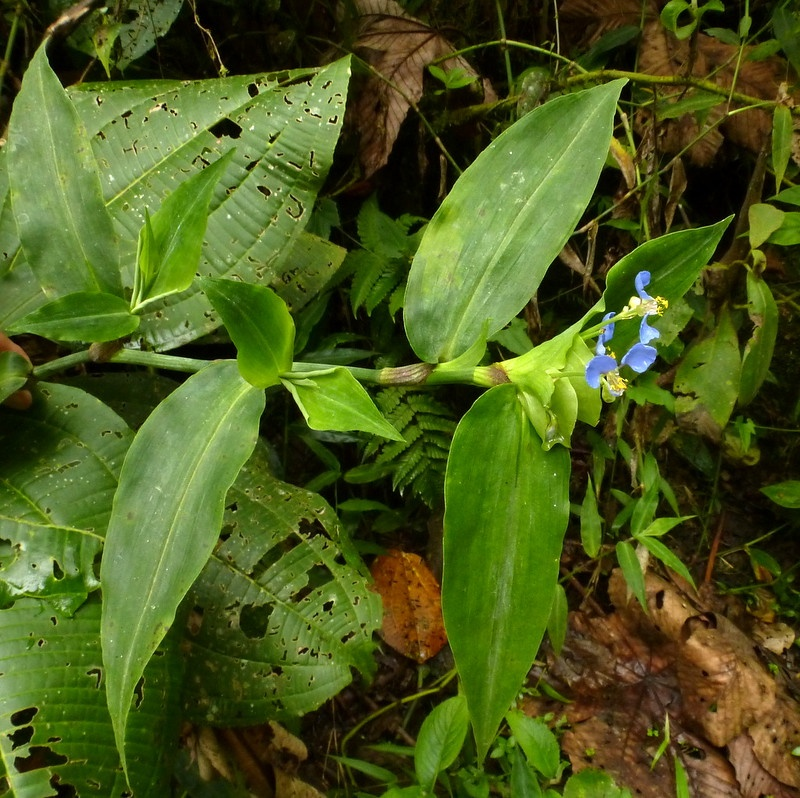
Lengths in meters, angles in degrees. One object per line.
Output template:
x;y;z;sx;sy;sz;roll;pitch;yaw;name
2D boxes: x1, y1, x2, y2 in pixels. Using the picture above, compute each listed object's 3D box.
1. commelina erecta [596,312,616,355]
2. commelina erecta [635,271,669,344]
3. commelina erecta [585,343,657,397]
0.351;-0.108;1.487;0.018;0.078;0.020;25;29;24;commelina erecta
0.414;-0.151;1.481;0.065;0.039;0.141;12;75;-43;commelina erecta
0.355;-0.050;1.453;0.095;0.099;0.045;17;-1;-6;commelina erecta
